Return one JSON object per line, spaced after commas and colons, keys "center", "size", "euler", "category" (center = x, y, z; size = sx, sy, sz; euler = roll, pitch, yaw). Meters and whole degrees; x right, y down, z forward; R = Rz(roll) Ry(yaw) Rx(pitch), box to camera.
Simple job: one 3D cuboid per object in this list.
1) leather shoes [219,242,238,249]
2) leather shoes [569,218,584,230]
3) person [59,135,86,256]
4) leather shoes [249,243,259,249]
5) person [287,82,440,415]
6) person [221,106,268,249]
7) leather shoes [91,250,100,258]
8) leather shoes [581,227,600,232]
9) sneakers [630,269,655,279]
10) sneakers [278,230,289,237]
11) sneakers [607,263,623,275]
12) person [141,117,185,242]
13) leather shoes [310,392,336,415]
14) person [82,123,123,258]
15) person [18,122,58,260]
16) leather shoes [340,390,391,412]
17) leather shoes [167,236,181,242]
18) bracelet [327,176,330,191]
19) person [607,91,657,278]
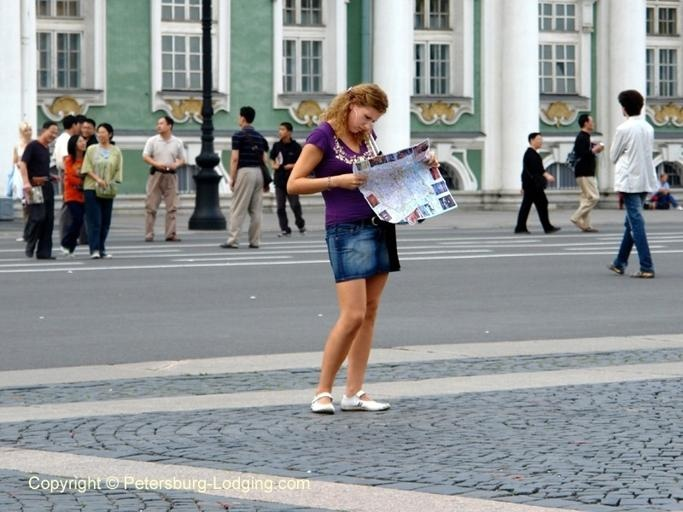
{"center": [-1.635, -0.184, 23.887], "size": [0.243, 0.099, 0.087], "euler": [5, 7, 11], "category": "leather shoes"}
{"center": [3.921, -0.574, 27.916], "size": [0.159, 0.179, 0.203], "euler": [20, -15, -32], "category": "leather shoes"}
{"center": [-3.612, -0.825, 22.342], "size": [0.387, 1.584, 0.605], "euler": [-3, 5, -8], "category": "person"}
{"center": [-1.292, -0.167, 24.155], "size": [0.152, 0.063, 0.055], "euler": [11, 10, 36], "category": "leather shoes"}
{"center": [0.033, -0.083, 13.660], "size": [0.884, 2.647, 0.553], "euler": [-3, 5, -3], "category": "person"}
{"center": [-1.385, -1.149, 24.084], "size": [0.622, 2.020, 0.869], "euler": [-1, 6, 16], "category": "person"}
{"center": [-3.271, -0.051, 22.025], "size": [0.087, 0.086, 0.218], "euler": [0, -4, -10], "category": "leather shoes"}
{"center": [4.140, -0.463, 27.904], "size": [0.298, 0.121, 0.099], "euler": [-1, 8, -11], "category": "leather shoes"}
{"center": [3.604, 0.193, 20.013], "size": [0.208, 0.100, 0.107], "euler": [4, 4, 24], "category": "sneakers"}
{"center": [-0.952, -0.387, 26.890], "size": [0.162, 0.102, 0.083], "euler": [4, 5, 16], "category": "sneakers"}
{"center": [3.325, 0.139, 20.381], "size": [0.225, 0.097, 0.083], "euler": [18, 9, 42], "category": "sneakers"}
{"center": [-2.765, -1.220, 25.753], "size": [0.654, 1.894, 1.352], "euler": [-3, 6, -6], "category": "person"}
{"center": [-0.164, 1.180, 13.550], "size": [0.199, 0.178, 0.125], "euler": [-3, 6, -3], "category": "leather shoes"}
{"center": [-3.194, -0.882, 22.175], "size": [0.524, 1.759, 0.729], "euler": [-3, 5, -7], "category": "person"}
{"center": [-4.030, -0.888, 22.203], "size": [0.467, 1.802, 0.630], "euler": [-3, 5, -5], "category": "person"}
{"center": [0.165, 1.172, 13.636], "size": [0.455, 0.188, 0.153], "euler": [0, 1, 5], "category": "leather shoes"}
{"center": [-2.584, -0.284, 25.497], "size": [0.223, 0.092, 0.080], "euler": [-1, 19, -9], "category": "leather shoes"}
{"center": [-0.110, -0.604, 13.558], "size": [0.031, 0.093, 0.046], "euler": [-3, 5, -3], "category": "bracelet"}
{"center": [3.499, -0.892, 20.179], "size": [0.585, 2.240, 1.011], "euler": [-1, 5, 10], "category": "person"}
